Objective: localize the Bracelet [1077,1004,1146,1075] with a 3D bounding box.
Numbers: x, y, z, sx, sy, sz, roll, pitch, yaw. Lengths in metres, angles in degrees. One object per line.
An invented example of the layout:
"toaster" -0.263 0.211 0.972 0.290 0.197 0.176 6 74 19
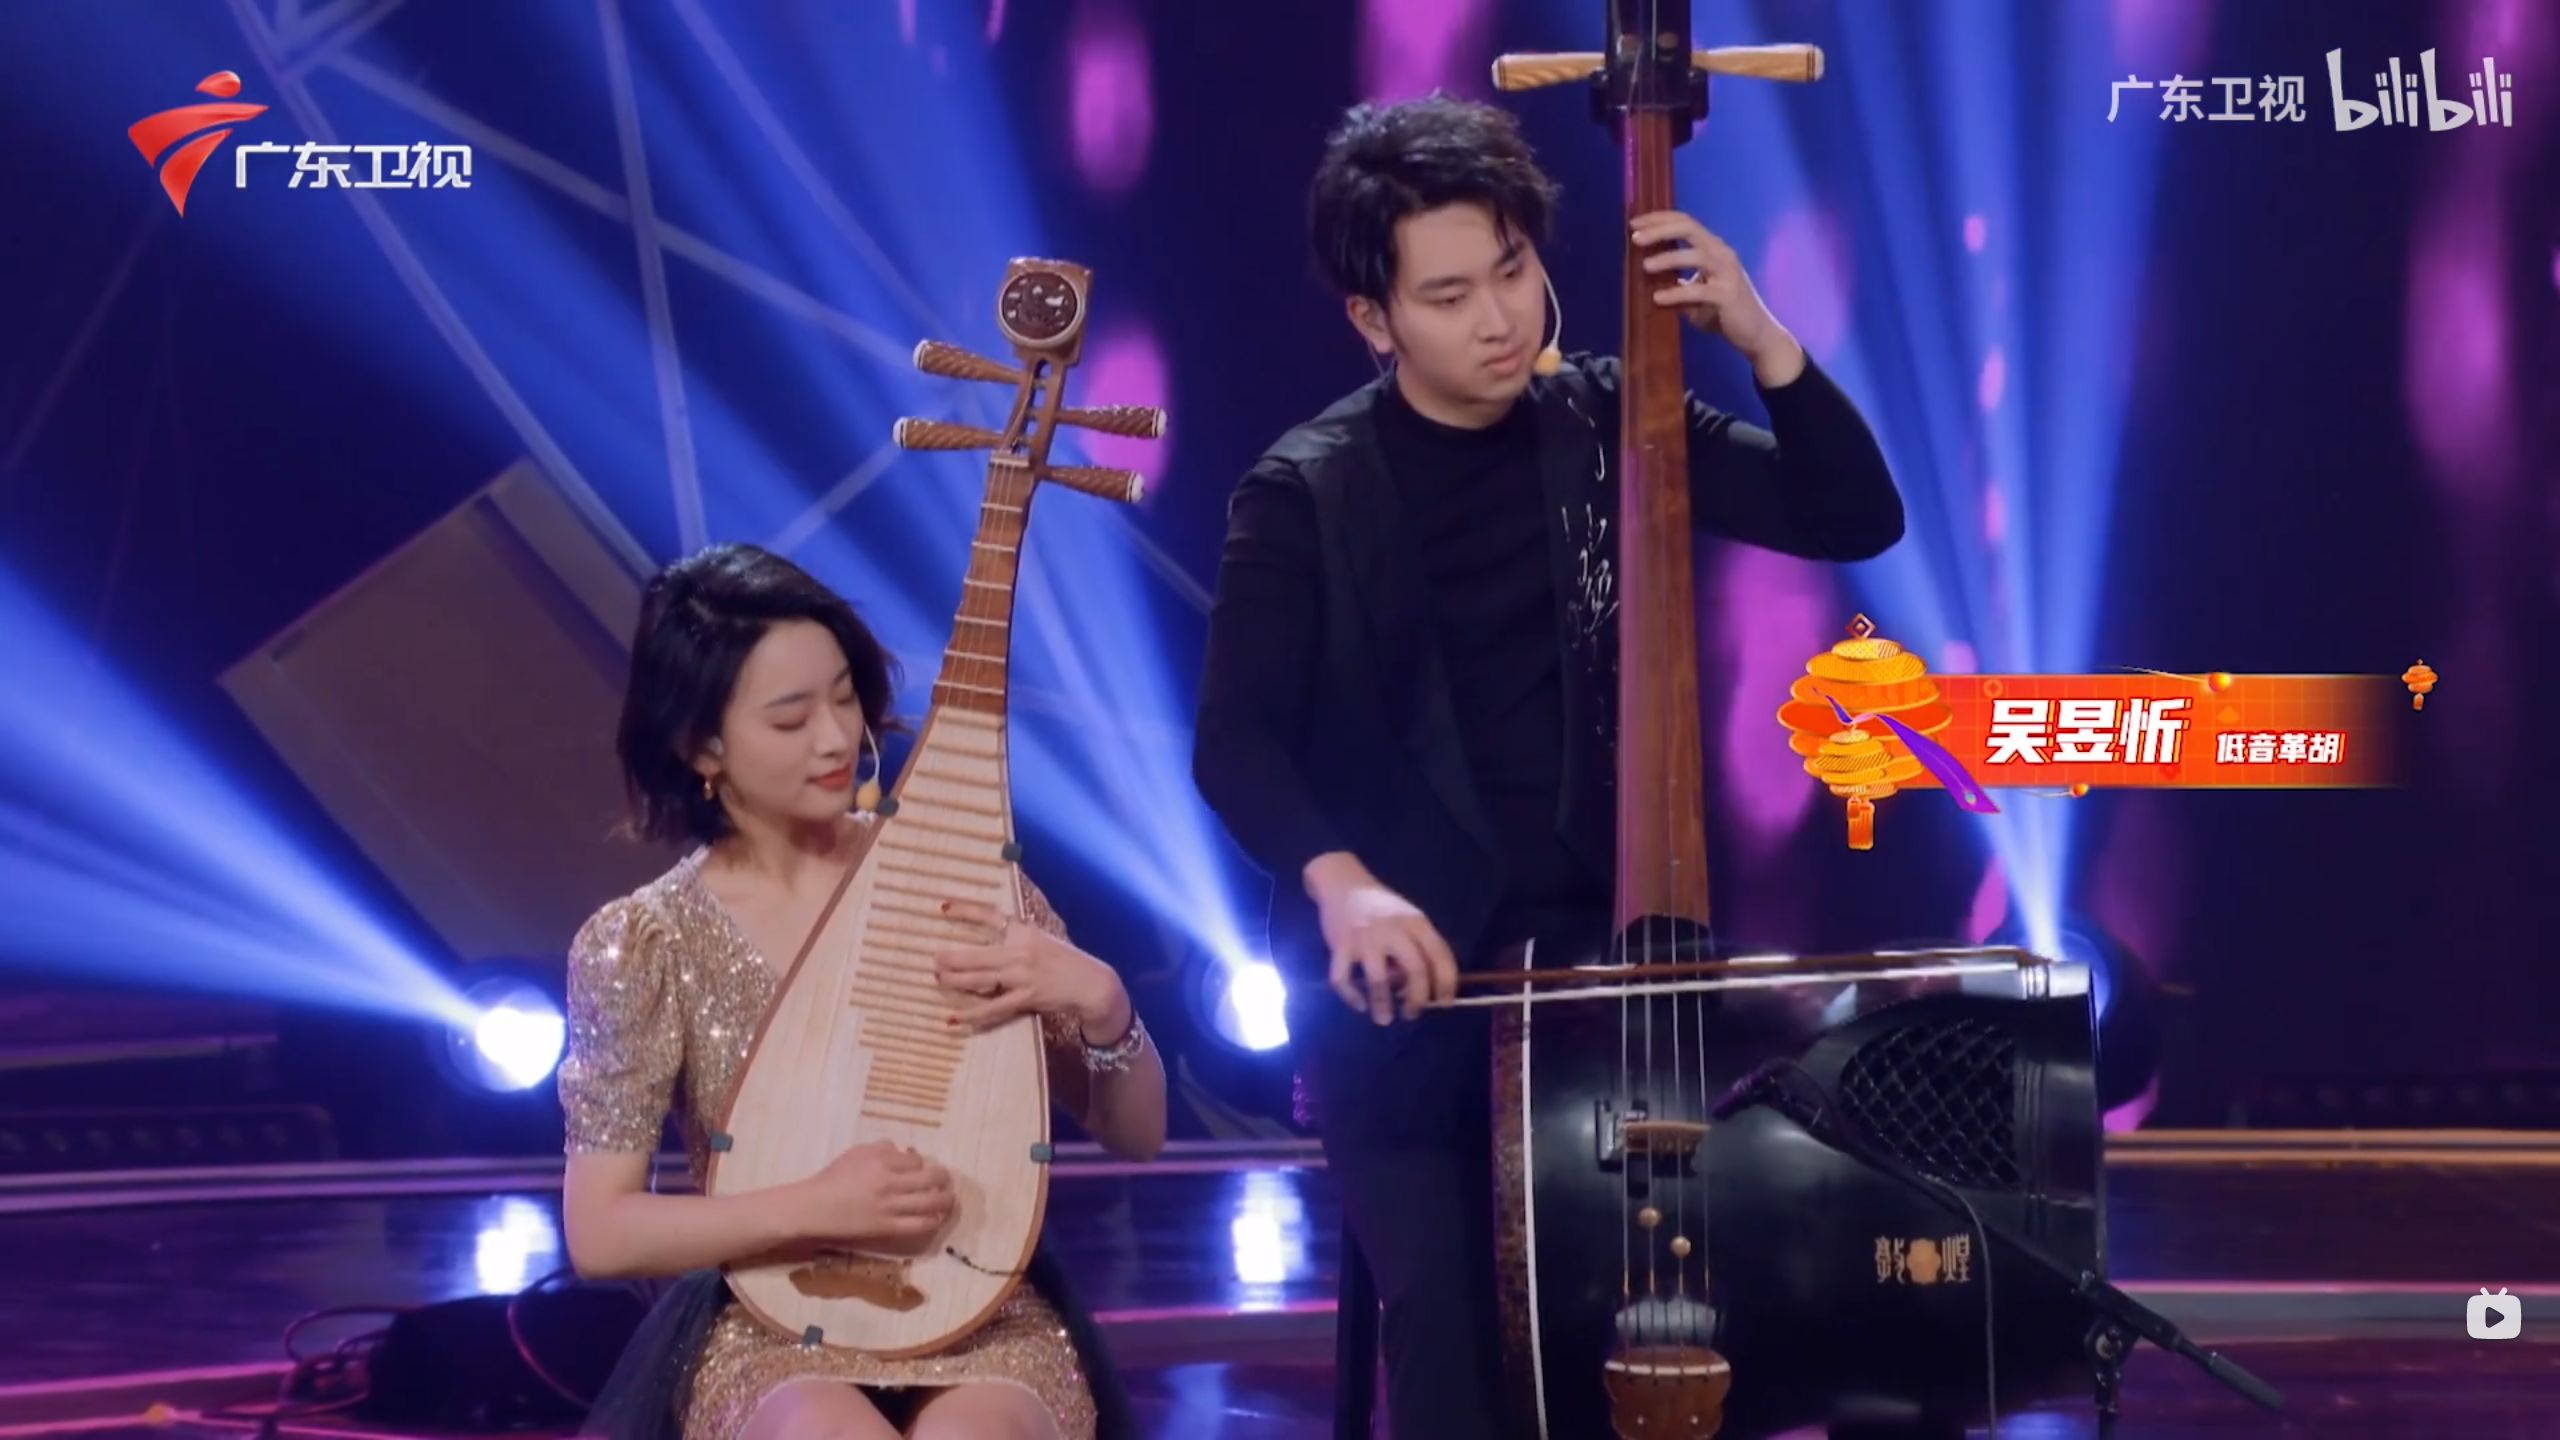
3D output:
"Bracelet" -0.378 0.712 5.379 0.144 0.131 0.048 -2 -2 -15

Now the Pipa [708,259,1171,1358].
"Pipa" -0.727 0.255 5.535 0.901 2.428 0.363 8 -1 0

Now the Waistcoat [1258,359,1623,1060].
"Waistcoat" 0.309 -0.041 5.405 0.933 1.483 0.473 -1 0 -10

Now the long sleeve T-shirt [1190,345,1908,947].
"long sleeve T-shirt" 0.358 -0.187 5.412 1.023 1.688 0.541 -1 1 -11
